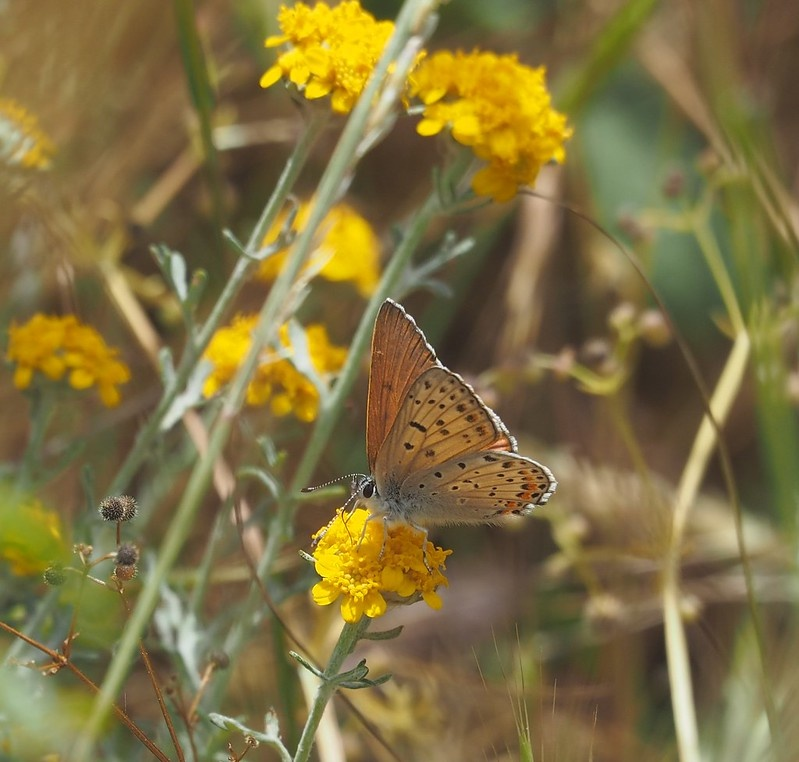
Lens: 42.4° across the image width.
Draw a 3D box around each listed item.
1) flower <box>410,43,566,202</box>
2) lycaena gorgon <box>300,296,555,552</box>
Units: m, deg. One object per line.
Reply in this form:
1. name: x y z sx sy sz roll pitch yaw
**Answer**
1. flower: 0.114 -0.305 1.340 0.142 0.065 0.179 -13 -17 23
2. lycaena gorgon: 0.037 0.095 1.475 0.343 0.287 0.370 4 -2 -5
